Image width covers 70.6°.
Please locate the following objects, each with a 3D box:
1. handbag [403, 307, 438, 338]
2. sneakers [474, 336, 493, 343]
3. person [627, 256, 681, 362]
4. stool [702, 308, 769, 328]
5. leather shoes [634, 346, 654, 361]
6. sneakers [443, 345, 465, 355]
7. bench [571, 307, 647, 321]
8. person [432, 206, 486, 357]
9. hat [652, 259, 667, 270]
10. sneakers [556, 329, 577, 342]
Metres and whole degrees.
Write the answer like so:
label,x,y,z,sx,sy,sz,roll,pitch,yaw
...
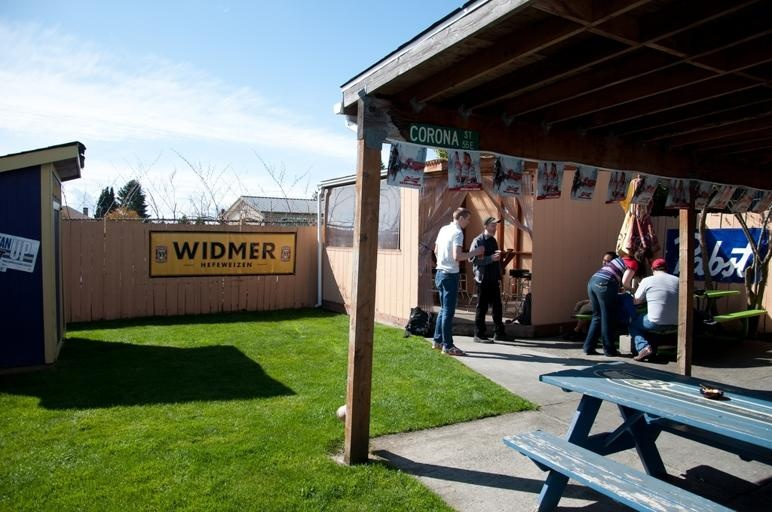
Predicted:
label,x,y,z,sx,sy,sz,roll,pitch,yaw
handbag,0.697,1.292,11.056,0.450,0.646,0.637,8,-18,-1
sneakers,1.892,1.602,10.638,0.248,0.117,0.146,-5,-7,25
person,4.546,0.940,9.283,0.753,1.740,0.647,7,11,32
stool,6.608,1.113,10.118,0.157,0.295,1.905,0,-1,-20
leather shoes,4.395,1.654,9.354,0.157,0.184,0.393,-3,-13,-4
sneakers,1.180,1.616,9.565,0.331,0.138,0.165,0,-2,-6
bench,3.991,1.105,10.631,0.635,0.218,0.452,-2,2,-26
person,1.187,0.450,9.664,0.651,2.545,0.950,2,10,6
hat,4.648,0.132,9.328,0.153,0.136,0.229,3,13,27
sneakers,3.689,1.577,11.061,0.474,0.211,0.163,3,-5,-17
